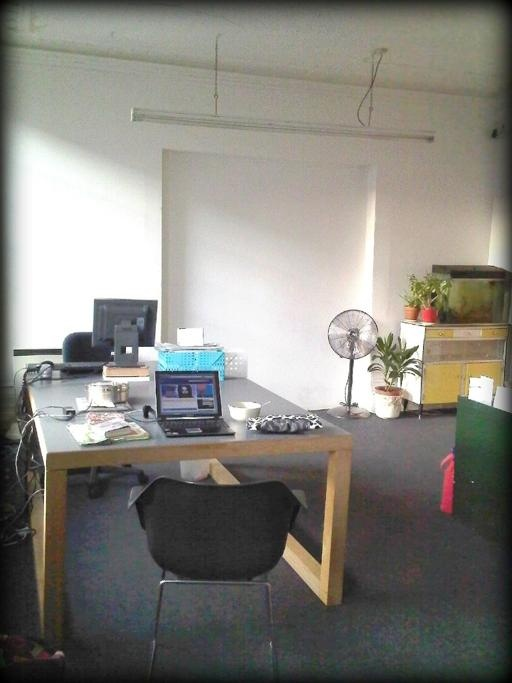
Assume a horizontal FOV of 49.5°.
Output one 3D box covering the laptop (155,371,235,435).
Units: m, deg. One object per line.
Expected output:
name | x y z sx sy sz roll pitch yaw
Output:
laptop | -0.259 0.251 2.245 0.241 0.200 0.268 1 7 -16

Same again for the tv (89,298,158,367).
tv | -0.836 -0.053 3.478 0.415 0.502 0.182 1 -3 -7

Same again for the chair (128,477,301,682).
chair | -0.141 0.843 1.892 0.484 0.680 0.438 0 27 -4

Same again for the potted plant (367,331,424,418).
potted plant | 1.373 0.367 5.613 0.438 0.834 0.551 5 5 -34

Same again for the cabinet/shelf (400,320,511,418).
cabinet/shelf | 1.817 0.232 5.117 0.828 0.881 0.448 -2 6 -18

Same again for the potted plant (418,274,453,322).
potted plant | 1.803 -0.432 5.603 0.241 0.498 0.375 7 7 44
